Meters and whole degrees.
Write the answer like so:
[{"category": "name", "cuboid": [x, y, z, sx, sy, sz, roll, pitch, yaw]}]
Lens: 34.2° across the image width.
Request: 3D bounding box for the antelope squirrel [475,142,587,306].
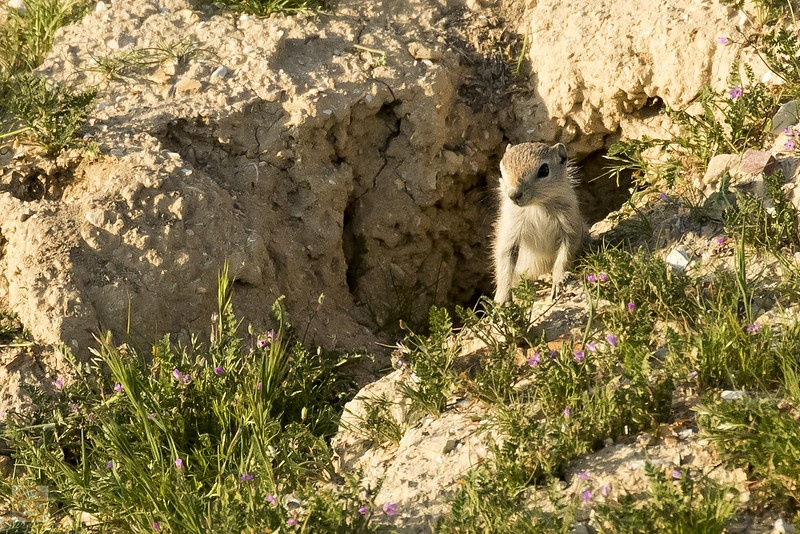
[{"category": "antelope squirrel", "cuboid": [1.296, -0.441, 11.769, 0.927, 1.477, 1.685, -1, 7, 18]}]
